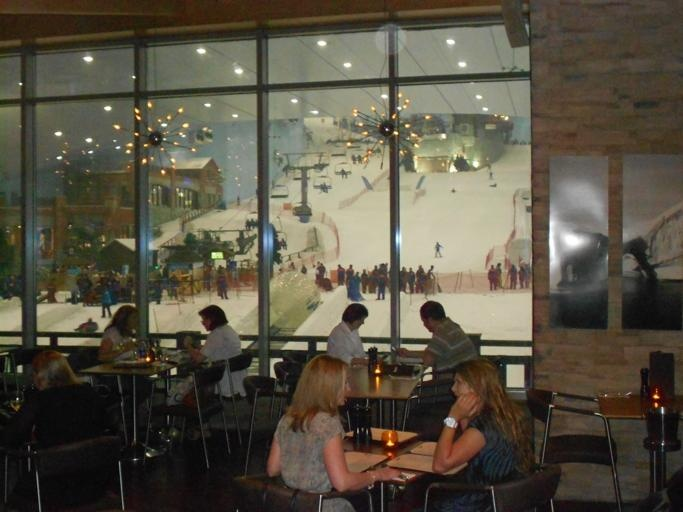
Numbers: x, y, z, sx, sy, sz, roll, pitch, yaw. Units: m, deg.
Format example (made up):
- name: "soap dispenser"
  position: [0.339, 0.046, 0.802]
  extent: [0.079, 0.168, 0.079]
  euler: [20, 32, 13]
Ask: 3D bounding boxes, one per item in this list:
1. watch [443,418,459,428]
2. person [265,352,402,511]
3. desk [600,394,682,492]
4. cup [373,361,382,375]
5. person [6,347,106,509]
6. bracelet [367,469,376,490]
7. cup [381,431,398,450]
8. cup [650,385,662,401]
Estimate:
- name: "watch"
  position: [0.763, 1.163, 4.962]
  extent: [0.084, 0.063, 0.093]
  euler: [5, -12, 12]
- name: "person"
  position: [-0.100, 1.169, 4.861]
  extent: [0.695, 0.882, 0.543]
  euler: [7, 11, 44]
- name: "desk"
  position: [2.498, 1.546, 5.867]
  extent: [0.969, 0.706, 0.550]
  euler: [-2, -1, 7]
- name: "cup"
  position: [0.365, 1.132, 7.163]
  extent: [0.083, 0.089, 0.086]
  euler: [1, -13, 0]
- name: "person"
  position: [-2.307, 1.396, 5.751]
  extent: [0.841, 1.101, 0.855]
  euler: [-2, 8, -10]
- name: "bracelet"
  position: [0.209, 1.510, 4.817]
  extent: [0.026, 0.093, 0.069]
  euler: [8, -20, -19]
- name: "cup"
  position: [0.355, 1.361, 5.235]
  extent: [0.107, 0.110, 0.110]
  euler: [0, -6, 0]
- name: "cup"
  position: [2.592, 1.118, 5.808]
  extent: [0.063, 0.032, 0.105]
  euler: [0, 14, 12]
